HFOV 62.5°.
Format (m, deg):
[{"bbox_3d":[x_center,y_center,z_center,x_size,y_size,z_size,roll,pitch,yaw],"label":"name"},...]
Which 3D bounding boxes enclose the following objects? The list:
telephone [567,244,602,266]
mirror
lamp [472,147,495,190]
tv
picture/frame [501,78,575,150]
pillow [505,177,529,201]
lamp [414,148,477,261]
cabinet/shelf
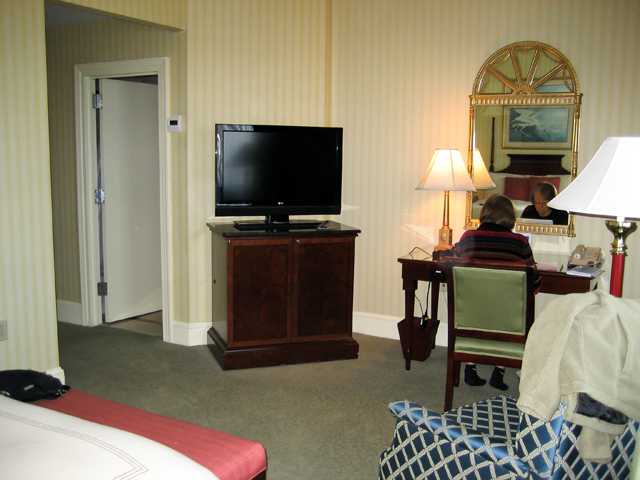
[{"bbox_3d":[2.011,0.133,3.981,0.183,0.065,0.186,6,49,39],"label":"telephone"},{"bbox_3d":[1.651,-0.828,4.291,0.868,1.546,0.059,3,-8,11],"label":"mirror"},{"bbox_3d":[1.370,-0.614,4.555,0.288,0.316,0.283,-2,19,22],"label":"lamp"},{"bbox_3d":[-0.358,-0.542,4.358,0.853,0.723,0.200,-1,14,-13],"label":"tv"},{"bbox_3d":[1.779,-1.011,4.241,0.553,0.502,0.047,6,5,21],"label":"picture/frame"},{"bbox_3d":[1.608,-0.408,4.288,0.212,0.250,0.095,7,12,30],"label":"pillow"},{"bbox_3d":[1.067,-0.319,4.455,0.515,0.856,0.524,-2,6,-23],"label":"lamp"},{"bbox_3d":[-0.294,0.438,4.537,1.188,1.090,0.742,-3,10,-20],"label":"cabinet/shelf"}]
